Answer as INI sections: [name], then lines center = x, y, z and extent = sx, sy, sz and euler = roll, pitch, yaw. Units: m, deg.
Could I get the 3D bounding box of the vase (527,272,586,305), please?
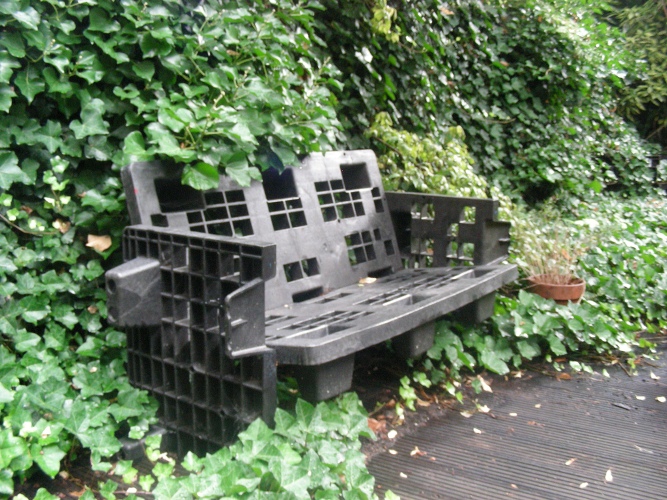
[vase]
center = 1.642, 0.276, 4.252
extent = 0.436, 0.181, 0.294
euler = -10, 8, -12
